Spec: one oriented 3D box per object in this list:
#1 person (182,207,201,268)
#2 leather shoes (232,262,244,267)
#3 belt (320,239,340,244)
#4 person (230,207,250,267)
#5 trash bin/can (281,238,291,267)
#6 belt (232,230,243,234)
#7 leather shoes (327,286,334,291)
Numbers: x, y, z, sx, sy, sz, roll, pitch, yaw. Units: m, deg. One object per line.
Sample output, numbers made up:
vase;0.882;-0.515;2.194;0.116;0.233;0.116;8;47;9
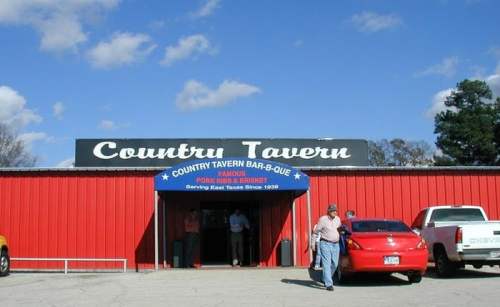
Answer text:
person;-2.677;3.839;22.579;0.562;2.593;0.805;6;-14;-35
leather shoes;-0.615;5.100;22.888;0.247;0.247;0.495;-7;-15;33
belt;2.727;3.011;17.120;0.614;0.147;0.172;-2;-11;1
person;-0.479;3.883;22.955;0.865;2.582;0.987;-2;-12;-2
trash bin/can;1.633;4.442;22.455;0.500;1.235;0.286;-1;-12;-5
belt;-0.585;3.575;22.702;0.427;0.087;0.145;2;-12;-20
leather shoes;2.706;4.548;16.835;0.230;0.150;0.222;-4;-11;9
